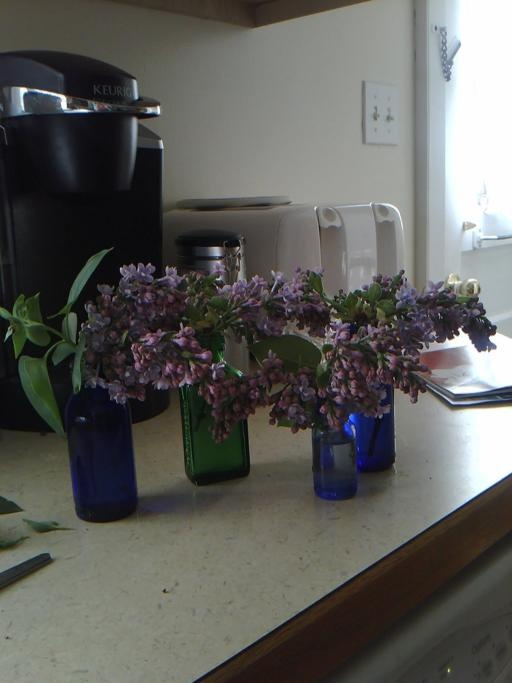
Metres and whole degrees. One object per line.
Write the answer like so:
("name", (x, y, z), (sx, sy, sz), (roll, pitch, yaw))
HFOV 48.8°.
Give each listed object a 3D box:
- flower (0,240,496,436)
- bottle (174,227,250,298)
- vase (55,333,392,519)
("flower", (0.038, 0.027, 0.488), (0.444, 0.169, 0.163), (4, 1, -18))
("bottle", (-0.049, -0.101, 0.723), (0.088, 0.091, 0.098), (-1, 10, 3))
("vase", (-0.055, 0.028, 0.509), (0.191, 0.111, 0.193), (5, 13, 28))
